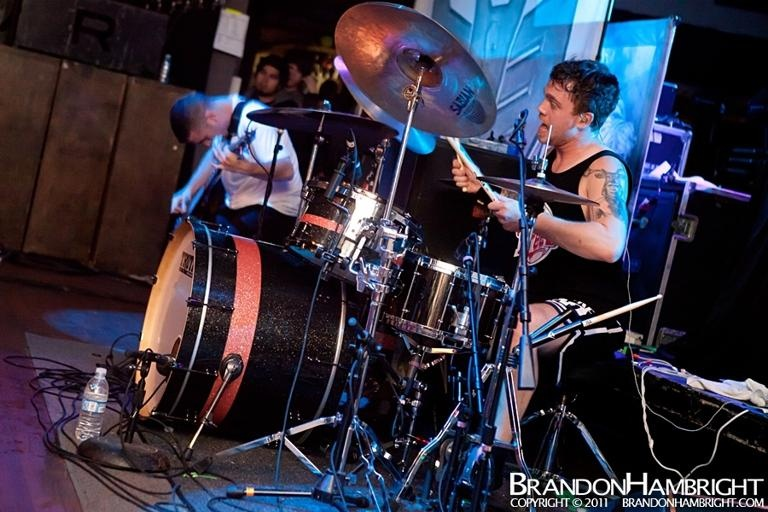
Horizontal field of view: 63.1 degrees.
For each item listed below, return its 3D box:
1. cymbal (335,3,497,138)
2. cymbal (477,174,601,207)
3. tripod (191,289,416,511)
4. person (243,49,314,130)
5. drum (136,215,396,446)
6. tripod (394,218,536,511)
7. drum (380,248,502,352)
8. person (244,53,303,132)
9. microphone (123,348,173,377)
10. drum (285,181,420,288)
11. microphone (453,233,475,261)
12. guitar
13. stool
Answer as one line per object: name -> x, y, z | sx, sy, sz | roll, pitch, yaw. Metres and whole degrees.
cymbal -> 0.171, -0.982, 3.358 | 0.927, 0.577, 0.552 | 14, 4, 5
cymbal -> 0.772, -0.344, 3.144 | 0.538, 0.126, 0.330 | 12, 4, -16
tripod -> -0.482, 0.772, 3.369 | 0.734, 0.960, 0.739 | 32, -19, -7
person -> -1.250, -1.856, 7.034 | 0.885, 0.712, 0.605 | 15, 9, -23
drum -> -0.781, 0.380, 3.912 | 1.225, 1.396, 1.310 | 11, 28, -28
tripod -> 0.506, 0.612, 3.155 | 0.584, 1.379, 0.822 | 13, 4, 0
drum -> 0.293, 0.250, 3.450 | 0.566, 0.338, 0.555 | 19, -5, 2
person -> -1.300, -1.877, 6.938 | 0.750, 0.631, 0.414 | 15, 6, -2
microphone -> -1.217, 0.548, 3.278 | 0.186, 0.081, 0.183 | 3, -12, -15
drum -> -0.257, -0.143, 3.417 | 0.520, 0.446, 0.246 | 13, 4, 3
microphone -> 0.435, -0.052, 3.293 | 0.088, 0.148, 0.147 | 21, -5, 9
guitar -> -1.511, -0.596, 5.527 | 0.211, 1.359, 0.513 | 25, 34, -32
stool -> 1.180, 1.077, 3.930 | 0.650, 0.852, 0.726 | 3, -38, -5
